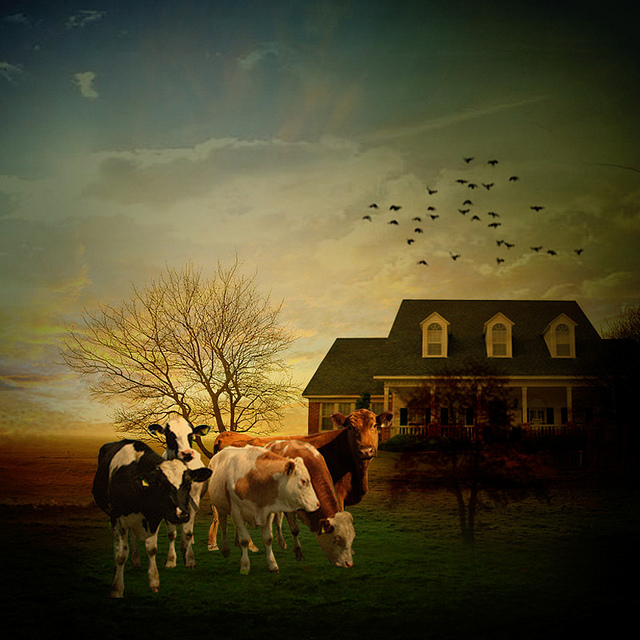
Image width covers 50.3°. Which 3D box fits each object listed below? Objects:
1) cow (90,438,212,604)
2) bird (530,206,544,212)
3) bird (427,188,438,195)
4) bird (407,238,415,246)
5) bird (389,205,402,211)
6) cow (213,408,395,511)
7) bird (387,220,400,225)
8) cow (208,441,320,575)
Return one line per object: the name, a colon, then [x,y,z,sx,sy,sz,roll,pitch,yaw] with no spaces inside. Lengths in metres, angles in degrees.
cow: [-3.069,3.470,11.647,1.953,2.633,0.975,0,-3,44]
bird: [7.616,-3.931,23.865,0.379,0.114,0.305,0,-4,0]
bird: [4.143,-4.638,24.830,0.482,0.191,0.151,3,-12,-42]
bird: [3.293,-2.849,24.845,0.330,0.065,0.274,-1,-14,5]
bird: [2.696,-4.011,24.464,0.344,0.115,0.289,-1,-4,1]
cow: [-0.338,3.387,15.031,1.564,2.257,5.960,2,-9,-40]
bird: [2.711,-3.559,24.845,0.330,0.169,0.431,1,-2,-1]
cow: [-1.182,3.627,13.154,1.687,2.231,4.548,6,-11,-27]
